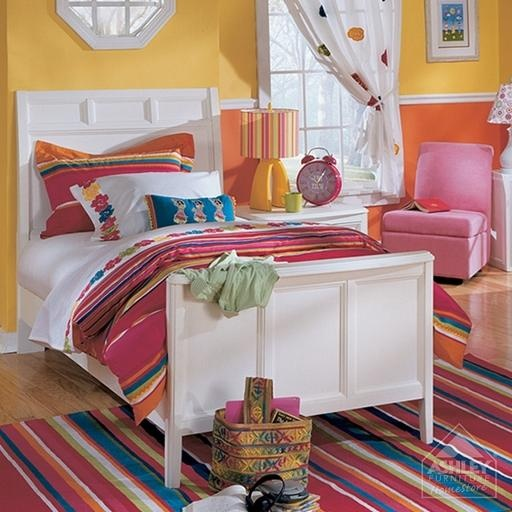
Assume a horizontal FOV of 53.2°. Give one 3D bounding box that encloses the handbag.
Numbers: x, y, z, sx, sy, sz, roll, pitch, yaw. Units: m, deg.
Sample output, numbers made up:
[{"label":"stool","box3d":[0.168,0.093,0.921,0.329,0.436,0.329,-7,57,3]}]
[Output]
[{"label":"handbag","box3d":[0.013,0.534,1.520,0.301,0.344,0.145,-1,4,-5]}]
